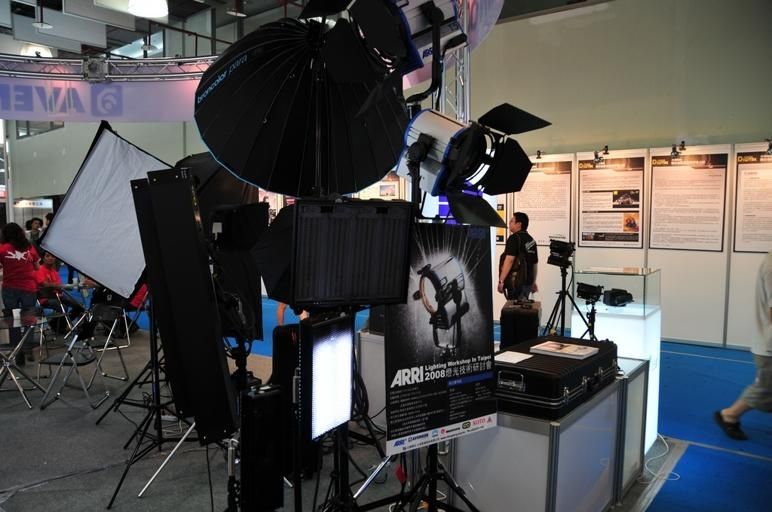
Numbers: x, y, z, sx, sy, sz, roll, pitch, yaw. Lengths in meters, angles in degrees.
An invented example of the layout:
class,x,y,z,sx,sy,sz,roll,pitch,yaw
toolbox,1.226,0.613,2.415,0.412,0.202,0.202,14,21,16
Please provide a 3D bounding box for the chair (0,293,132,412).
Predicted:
class,x,y,z,sx,sy,sz,roll,pitch,yaw
chair,-4.205,1.303,7.853,1.136,1.500,0.915,17,8,-5

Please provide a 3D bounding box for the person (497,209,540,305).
class,x,y,z,sx,sy,sz,roll,pitch,yaw
person,1.830,0.013,8.214,0.508,1.191,0.691,4,8,12

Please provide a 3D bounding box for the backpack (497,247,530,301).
class,x,y,z,sx,sy,sz,roll,pitch,yaw
backpack,1.826,0.216,8.412,0.376,0.689,0.490,-7,-26,28

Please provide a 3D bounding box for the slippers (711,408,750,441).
class,x,y,z,sx,sy,sz,roll,pitch,yaw
slippers,3.564,1.787,6.269,0.142,0.165,0.392,-13,42,-21
